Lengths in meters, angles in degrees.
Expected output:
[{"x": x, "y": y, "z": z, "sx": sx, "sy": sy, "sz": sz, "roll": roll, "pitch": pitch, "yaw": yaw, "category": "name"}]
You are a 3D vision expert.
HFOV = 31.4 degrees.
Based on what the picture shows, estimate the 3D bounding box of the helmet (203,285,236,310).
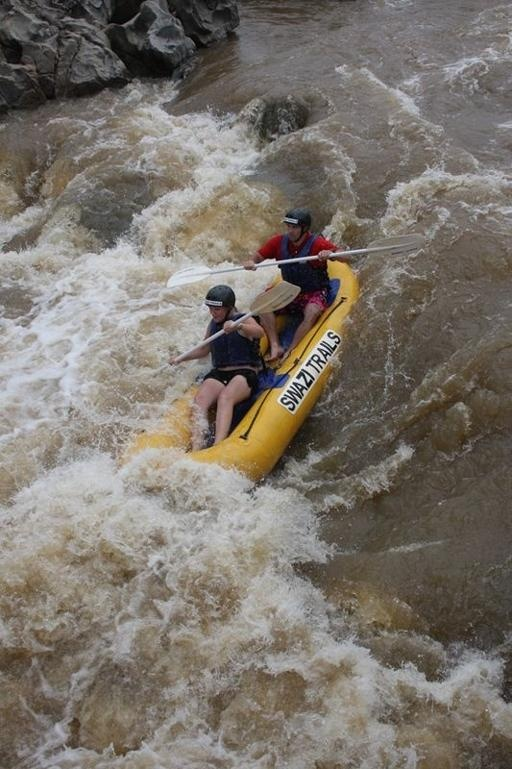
[{"x": -0.327, "y": -0.819, "z": 8.711, "sx": 0.198, "sy": 0.204, "sz": 0.263, "roll": 23, "pitch": 47, "yaw": 34, "category": "helmet"}]

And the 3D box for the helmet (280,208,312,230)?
[{"x": 0.423, "y": -1.652, "z": 9.171, "sx": 0.275, "sy": 0.190, "sz": 0.191, "roll": -12, "pitch": 37, "yaw": -22, "category": "helmet"}]

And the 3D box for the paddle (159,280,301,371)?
[{"x": -0.264, "y": -0.557, "z": 8.972, "sx": 1.466, "sy": 0.103, "sz": 0.239, "roll": -31, "pitch": 53, "yaw": 8, "category": "paddle"}]

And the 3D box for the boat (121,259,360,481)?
[{"x": 0.389, "y": -0.032, "z": 9.073, "sx": 1.175, "sy": 0.704, "sz": 2.736, "roll": 26, "pitch": 60, "yaw": 25, "category": "boat"}]
